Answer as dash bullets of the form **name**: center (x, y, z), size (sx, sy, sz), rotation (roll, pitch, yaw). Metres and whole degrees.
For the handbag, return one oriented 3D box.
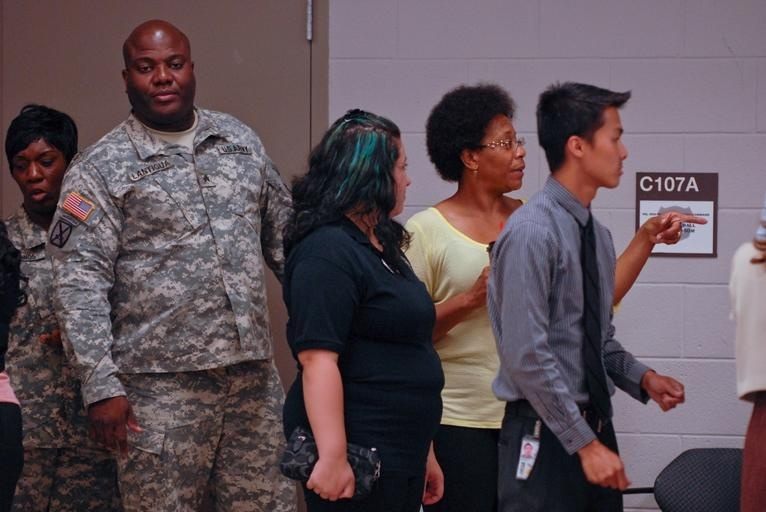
- **handbag**: center (-0.180, 0.687, 2.893), size (0.318, 0.187, 0.113), rotation (16, 1, 2)

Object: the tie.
- **tie**: center (0.760, 0.234, 3.095), size (0.100, 0.766, 0.156), rotation (1, 3, 37)

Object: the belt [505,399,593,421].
- **belt**: center (0.597, 0.551, 3.075), size (0.167, 0.063, 0.128), rotation (-3, -3, 5)
